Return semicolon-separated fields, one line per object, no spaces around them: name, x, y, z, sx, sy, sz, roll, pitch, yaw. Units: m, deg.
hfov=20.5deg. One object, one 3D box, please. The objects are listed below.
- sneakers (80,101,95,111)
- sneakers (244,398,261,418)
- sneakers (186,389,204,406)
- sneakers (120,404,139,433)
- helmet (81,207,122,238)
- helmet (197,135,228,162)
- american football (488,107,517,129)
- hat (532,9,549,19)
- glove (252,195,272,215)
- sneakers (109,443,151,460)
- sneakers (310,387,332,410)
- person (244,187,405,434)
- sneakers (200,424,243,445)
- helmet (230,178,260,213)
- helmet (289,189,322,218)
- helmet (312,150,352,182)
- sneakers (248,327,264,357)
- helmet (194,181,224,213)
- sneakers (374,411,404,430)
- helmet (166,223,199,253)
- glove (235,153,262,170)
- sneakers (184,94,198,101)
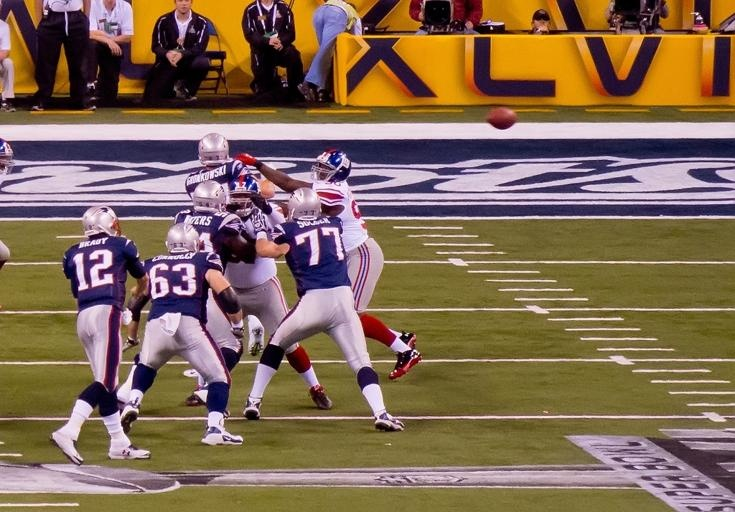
sneakers;-4.617;-2.395;33.667;0.206;0.080;0.240;-3;2;-1
sneakers;-1.243;1.658;22.149;0.172;0.226;0.201;0;9;-3
sneakers;-1.857;1.572;22.404;0.303;0.098;0.131;-22;15;37
sneakers;-2.524;1.700;21.645;0.158;0.334;0.167;13;20;-17
helmet;-2.806;-0.344;21.810;0.400;0.284;0.326;-13;20;-38
helmet;-1.738;-1.193;23.123;0.307;0.258;0.348;-2;34;-5
american football;2.074;-2.018;30.725;0.439;0.200;0.302;0;-8;5
hat;3.039;-4.072;35.248;0.268;0.144;0.323;2;-4;-4
glove;-1.154;-0.530;22.661;0.119;0.078;0.353;-11;-28;16
sneakers;-2.458;2.041;21.251;0.439;0.134;0.155;-1;2;1
sneakers;-0.492;1.573;22.433;0.178;0.298;0.125;-30;17;2
person;-0.548;0.562;22.113;1.474;2.428;0.974;1;10;2
sneakers;-1.510;1.893;21.482;0.440;0.210;0.134;0;9;-3
helmet;-1.266;-0.630;22.569;0.307;0.286;0.425;-19;-19;27
helmet;-0.673;-0.537;22.279;0.320;0.286;0.354;0;18;-9
helmet;-0.339;-0.961;22.910;0.488;0.299;0.324;4;7;-35
sneakers;-1.223;0.996;23.428;0.202;0.333;0.127;6;31;-22
helmet;-1.710;-0.615;22.304;0.370;0.323;0.183;0;9;-6
sneakers;0.218;1.776;21.882;0.386;0.147;0.142;8;10;-18
helmet;-1.940;-0.164;21.864;0.324;0.278;0.338;0;15;2
glove;-1.341;-1.056;23.223;0.273;0.170;0.106;39;13;0
sneakers;-2.998;-2.622;34.784;0.174;0.086;0.195;-2;4;-12
